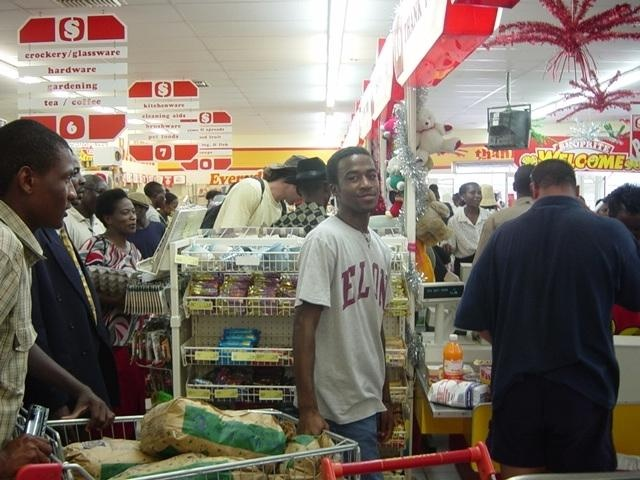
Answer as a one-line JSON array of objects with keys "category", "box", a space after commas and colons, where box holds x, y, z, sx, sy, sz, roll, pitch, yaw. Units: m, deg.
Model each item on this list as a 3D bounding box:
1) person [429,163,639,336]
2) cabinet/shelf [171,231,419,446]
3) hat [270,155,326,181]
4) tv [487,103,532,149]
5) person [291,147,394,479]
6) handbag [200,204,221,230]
[{"category": "person", "box": [2.036, 0.009, 5.115, 1.236, 2.169, 0.671, 4, 4, 13]}, {"category": "cabinet/shelf", "box": [-0.181, 0.550, 3.293, 1.530, 1.426, 0.727, 0, 1, -1]}, {"category": "hat", "box": [-0.185, -0.534, 4.377, 0.332, 0.094, 0.300, -3, 5, 17]}, {"category": "tv", "box": [2.876, -1.707, 8.917, 0.619, 0.644, 0.360, -1, 1, 24]}, {"category": "person", "box": [0.117, 0.312, 2.876, 0.326, 1.546, 0.688, -1, 1, 32]}, {"category": "handbag", "box": [-0.934, -0.177, 4.924, 0.069, 0.192, 0.198, 17, -4, -4]}]
